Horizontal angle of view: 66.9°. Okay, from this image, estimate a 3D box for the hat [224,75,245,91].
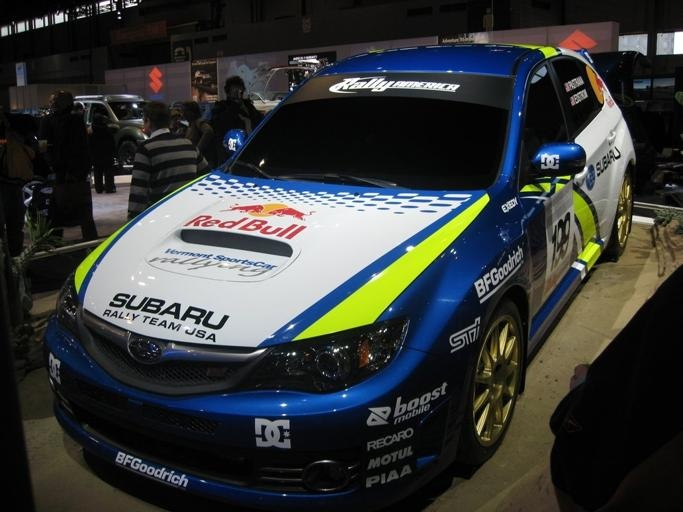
[{"bbox_3d":[-1.872,-3.088,9.147,0.244,0.329,0.350,2,39,3],"label":"hat"}]
